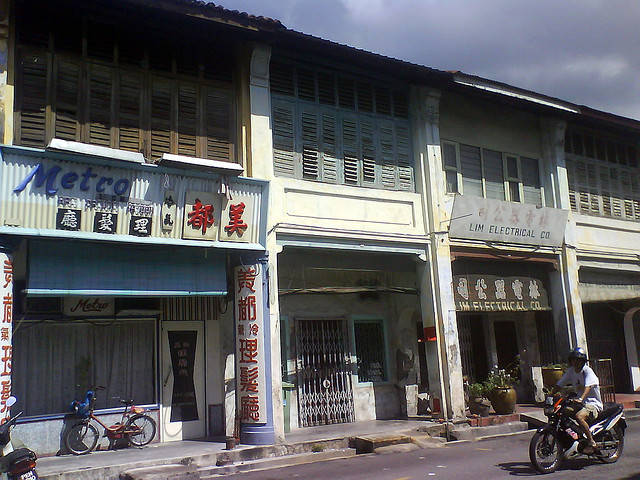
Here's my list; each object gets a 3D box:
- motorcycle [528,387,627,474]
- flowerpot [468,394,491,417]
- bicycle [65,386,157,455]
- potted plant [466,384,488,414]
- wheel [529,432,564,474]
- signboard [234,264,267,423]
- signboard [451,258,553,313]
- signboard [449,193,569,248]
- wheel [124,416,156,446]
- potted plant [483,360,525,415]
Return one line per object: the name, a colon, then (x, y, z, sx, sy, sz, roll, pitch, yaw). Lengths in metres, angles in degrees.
motorcycle: (4.308, 3.187, 9.557, 2.065, 1.206, 0.609, 7, -16, -33)
flowerpot: (4.058, 4.131, 14.251, 0.624, 0.523, 0.552, 2, -14, -13)
bicycle: (-4.274, 3.837, 11.735, 1.617, 1.133, 0.847, 2, -21, -25)
potted plant: (3.933, 3.959, 14.178, 0.435, 0.694, 0.351, -5, -14, 14)
wheel: (3.689, 3.442, 9.269, 0.762, 0.637, 0.253, 9, -17, -38)
signboard: (-1.460, 2.424, 12.215, 0.728, 3.899, 0.746, -9, -20, 14)
signboard: (4.910, 1.230, 15.562, 0.077, 1.354, 3.574, -2, -2, -29)
signboard: (5.152, -0.471, 15.442, 3.226, 1.153, 0.070, 6, 0, -5)
wheel: (-3.796, 4.008, 11.956, 0.539, 0.563, 0.141, 11, -20, -43)
potted plant: (4.699, 3.814, 14.679, 0.834, 1.224, 0.816, -6, -16, 9)
